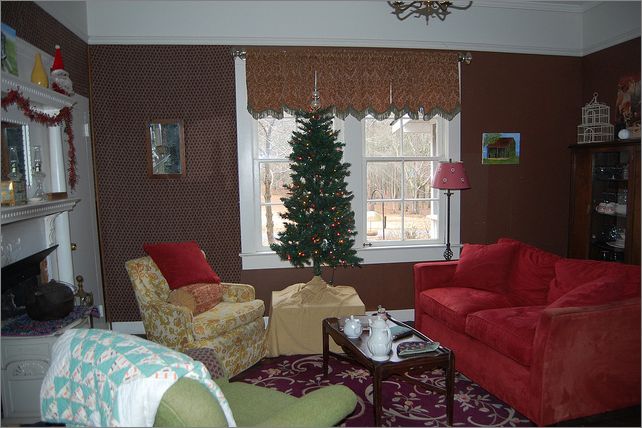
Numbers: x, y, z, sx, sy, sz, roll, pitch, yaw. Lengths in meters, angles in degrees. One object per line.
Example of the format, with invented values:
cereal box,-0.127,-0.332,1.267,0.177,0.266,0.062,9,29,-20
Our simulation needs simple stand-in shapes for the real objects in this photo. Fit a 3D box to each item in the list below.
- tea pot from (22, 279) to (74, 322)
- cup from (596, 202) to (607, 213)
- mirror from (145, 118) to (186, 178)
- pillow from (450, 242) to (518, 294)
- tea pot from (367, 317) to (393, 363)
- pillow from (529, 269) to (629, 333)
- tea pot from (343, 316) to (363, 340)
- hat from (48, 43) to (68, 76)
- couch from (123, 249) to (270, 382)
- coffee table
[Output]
tea pot,-2.390,0.753,4.232,0.315,0.322,0.366,-1,1,23
cup,3.381,-0.072,5.789,0.093,0.130,0.114,39,-24,-27
mirror,-1.849,-0.782,5.663,0.471,0.713,0.035,-1,5,7
pillow,1.783,0.539,5.143,0.565,0.570,0.179,6,-19,36
tea pot,0.519,1.082,4.155,0.239,0.358,0.281,-1,4,-19
pillow,2.391,0.687,4.206,0.694,0.265,0.296,-5,2,5
tea pot,0.291,1.057,4.480,0.175,0.151,0.136,7,-8,-15
hat,-2.580,-1.517,4.638,0.120,0.280,0.296,-6,2,-29
couch,-1.305,1.084,5.177,1.211,1.343,1.005,-3,5,38
coffee table,0.660,1.096,4.327,0.838,0.793,1.262,-4,7,-25
